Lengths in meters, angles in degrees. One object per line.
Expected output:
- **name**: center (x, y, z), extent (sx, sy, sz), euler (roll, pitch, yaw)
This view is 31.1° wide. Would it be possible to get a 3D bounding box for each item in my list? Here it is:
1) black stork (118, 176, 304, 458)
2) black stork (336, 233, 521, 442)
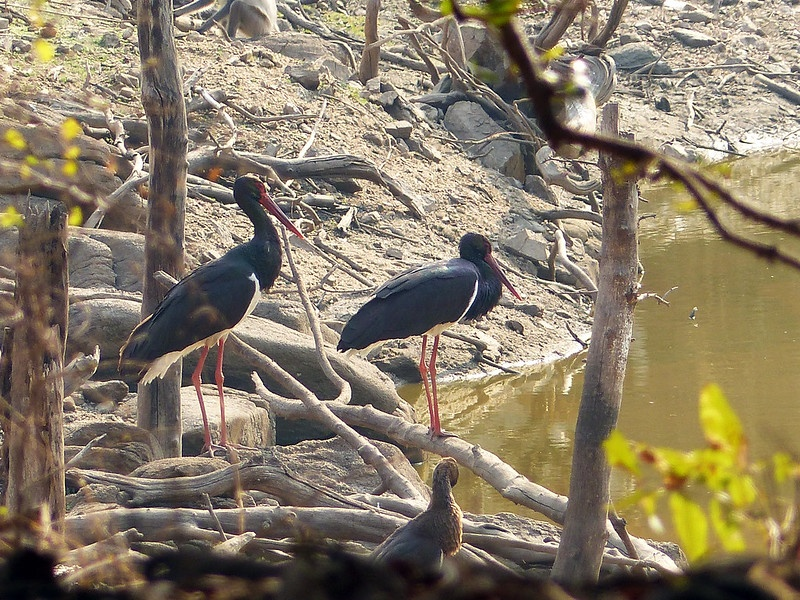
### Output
- **black stork**: center (-1.881, 0.110, 14.172), extent (0.985, 2.662, 1.598), euler (6, 7, 24)
- **black stork**: center (0.193, 0.240, 14.687), extent (1.224, 1.826, 1.279), euler (7, 7, 32)
